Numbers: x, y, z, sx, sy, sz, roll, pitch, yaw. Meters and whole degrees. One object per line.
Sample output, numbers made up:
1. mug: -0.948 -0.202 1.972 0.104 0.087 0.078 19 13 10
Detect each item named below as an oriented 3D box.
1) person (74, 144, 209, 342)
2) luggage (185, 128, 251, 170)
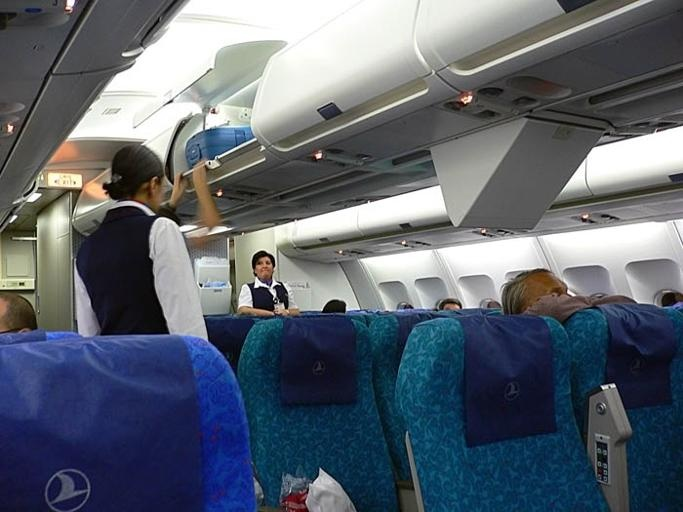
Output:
1. person: -0.910 -0.051 2.144 0.336 0.940 0.626 1 -20 -43
2. luggage: -1.202 -1.094 4.869 0.603 0.230 0.448 -2 -10 -38
